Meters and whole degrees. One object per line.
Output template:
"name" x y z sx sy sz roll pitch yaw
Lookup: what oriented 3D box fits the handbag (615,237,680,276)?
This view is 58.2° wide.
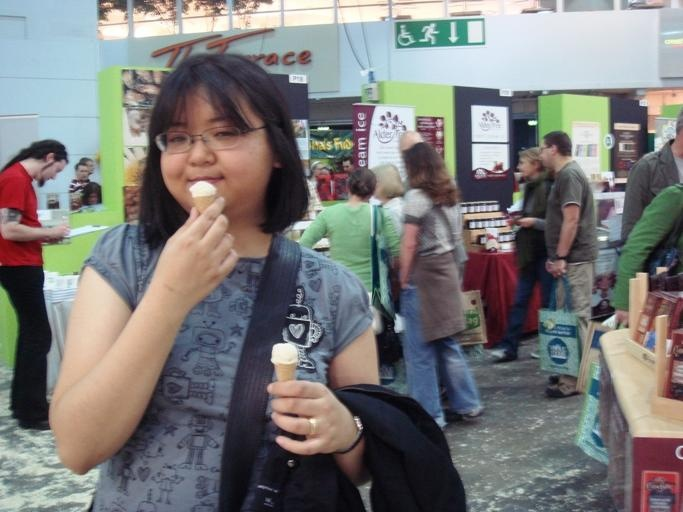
"handbag" 1.616 0.000 3.138 0.199 0.232 0.105 10 -8 11

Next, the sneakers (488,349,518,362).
"sneakers" 1.654 1.012 6.288 0.313 0.118 0.108 -8 8 4

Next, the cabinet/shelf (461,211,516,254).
"cabinet/shelf" 1.696 -0.267 7.186 0.562 0.453 0.375 2 1 -10

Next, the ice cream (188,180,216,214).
"ice cream" -0.301 -0.134 1.397 0.074 0.089 0.064 -5 11 -20

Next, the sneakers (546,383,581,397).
"sneakers" 1.818 1.125 5.089 0.181 0.059 0.126 0 1 30
